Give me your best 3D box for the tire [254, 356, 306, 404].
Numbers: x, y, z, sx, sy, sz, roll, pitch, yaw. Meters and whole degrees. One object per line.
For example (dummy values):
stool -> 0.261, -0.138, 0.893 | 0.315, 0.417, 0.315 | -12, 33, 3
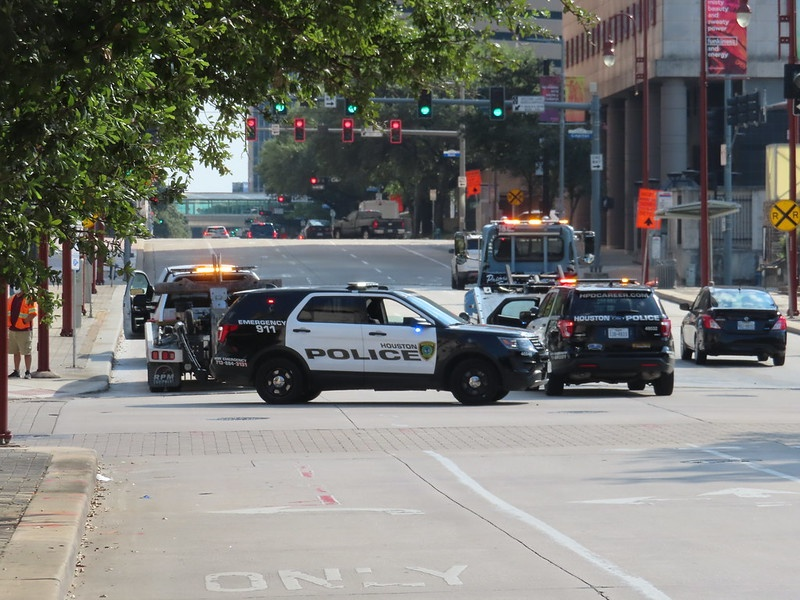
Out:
tire -> -1.894, 1.231, 20.407 | 0.866, 0.757, 0.289 | 0, 2, 0

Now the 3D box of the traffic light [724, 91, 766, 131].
traffic light -> 11.925, -6.697, 44.857 | 1.168, 1.112, 1.878 | 0, 4, 9

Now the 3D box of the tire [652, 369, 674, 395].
tire -> 4.301, 1.332, 21.223 | 0.212, 0.485, 0.519 | 1, -1, -8

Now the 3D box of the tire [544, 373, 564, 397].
tire -> 2.566, 1.402, 21.631 | 0.208, 0.475, 0.510 | 1, -2, -13

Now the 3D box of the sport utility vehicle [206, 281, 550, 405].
sport utility vehicle -> -0.251, 0.722, 20.980 | 4.979, 1.553, 2.086 | -1, -2, 4

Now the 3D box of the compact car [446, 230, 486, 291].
compact car -> 2.305, -1.501, 46.261 | 1.267, 1.108, 2.047 | 1, 6, -5

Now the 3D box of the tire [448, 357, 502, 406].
tire -> 1.163, 1.237, 20.201 | 0.879, 0.769, 0.267 | 0, 2, -1

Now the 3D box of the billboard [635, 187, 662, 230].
billboard -> 9.594, -3.517, 50.028 | 0.790, 1.607, 4.563 | 1, 4, 12
